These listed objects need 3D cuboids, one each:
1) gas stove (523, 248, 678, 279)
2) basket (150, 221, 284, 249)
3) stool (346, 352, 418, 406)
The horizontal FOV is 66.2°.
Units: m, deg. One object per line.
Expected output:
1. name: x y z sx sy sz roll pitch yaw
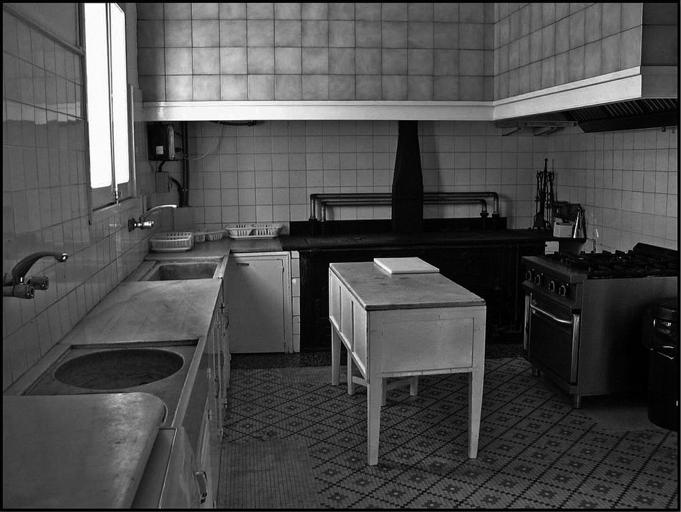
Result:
1. gas stove: 2.299 0.044 4.299 1.127 0.121 0.817 -3 11 -15
2. basket: -1.285 -0.218 5.517 0.568 0.153 1.559 9 14 39
3. stool: 0.341 1.014 4.239 0.490 0.489 0.496 1 2 -17
